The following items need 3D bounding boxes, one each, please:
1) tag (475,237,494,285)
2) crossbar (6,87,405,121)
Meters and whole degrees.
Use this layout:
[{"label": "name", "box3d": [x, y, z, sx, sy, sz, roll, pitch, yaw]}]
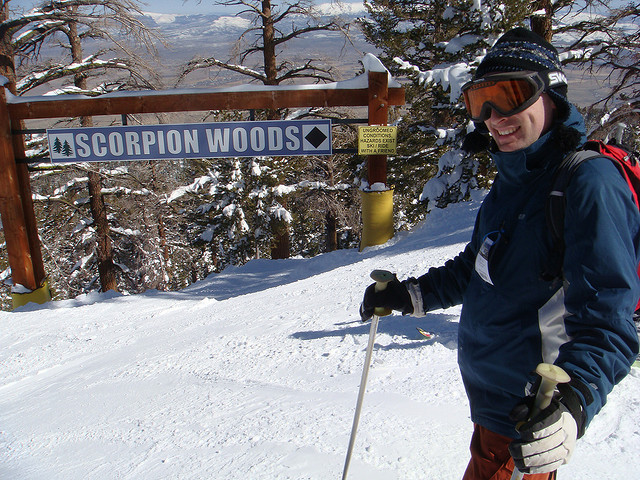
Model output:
[{"label": "tag", "box3d": [1.330, 0.169, 5.091, 0.164, 0.368, 0.068, 4, 13, 37]}, {"label": "crossbar", "box3d": [-2.565, -2.680, 12.192, 6.911, 0.382, 0.401, -3, 10, 1]}]
